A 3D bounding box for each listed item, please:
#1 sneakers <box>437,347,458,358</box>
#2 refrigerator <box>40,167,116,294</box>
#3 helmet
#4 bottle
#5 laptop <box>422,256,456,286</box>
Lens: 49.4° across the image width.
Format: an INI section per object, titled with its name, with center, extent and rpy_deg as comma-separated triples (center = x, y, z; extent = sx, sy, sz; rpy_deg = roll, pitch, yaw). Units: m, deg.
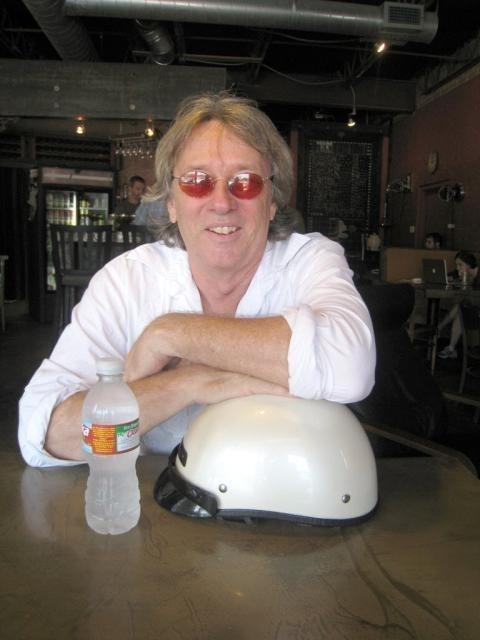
[sneakers]
center = 1.950, 0.301, 4.942
extent = 0.232, 0.094, 0.083
rpy_deg = 4, -2, -35
[refrigerator]
center = -2.760, -1.582, 8.533
extent = 1.117, 2.056, 0.721
rpy_deg = -4, 30, -28
[helmet]
center = 0.047, 0.171, 0.697
extent = 0.225, 0.098, 0.162
rpy_deg = 4, 1, 4
[bottle]
center = -0.177, 0.141, 0.708
extent = 0.075, 0.213, 0.246
rpy_deg = -1, 6, -13
[laptop]
center = 1.935, -0.489, 5.236
extent = 0.298, 0.305, 0.452
rpy_deg = 4, 4, -15
